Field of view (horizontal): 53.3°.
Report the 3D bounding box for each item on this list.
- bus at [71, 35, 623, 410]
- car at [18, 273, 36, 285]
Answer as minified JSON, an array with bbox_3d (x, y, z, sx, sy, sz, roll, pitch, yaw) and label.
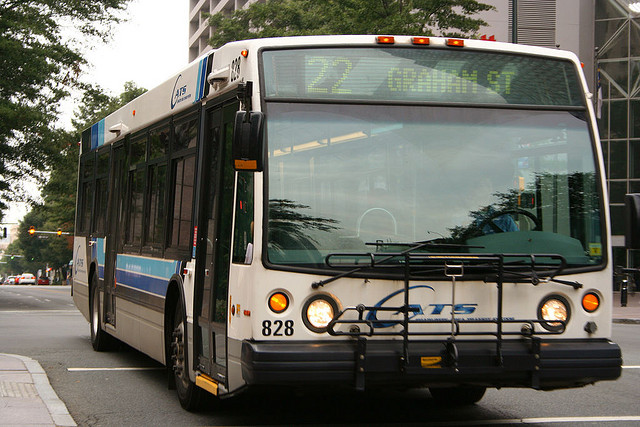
[{"bbox_3d":[-0.276,0.194,7.433,6.399,4.454,2.886,-2,-3,38],"label":"bus"},{"bbox_3d":[-45.486,10.417,99.566,1.919,1.470,4.463,0,3,-18],"label":"car"}]
